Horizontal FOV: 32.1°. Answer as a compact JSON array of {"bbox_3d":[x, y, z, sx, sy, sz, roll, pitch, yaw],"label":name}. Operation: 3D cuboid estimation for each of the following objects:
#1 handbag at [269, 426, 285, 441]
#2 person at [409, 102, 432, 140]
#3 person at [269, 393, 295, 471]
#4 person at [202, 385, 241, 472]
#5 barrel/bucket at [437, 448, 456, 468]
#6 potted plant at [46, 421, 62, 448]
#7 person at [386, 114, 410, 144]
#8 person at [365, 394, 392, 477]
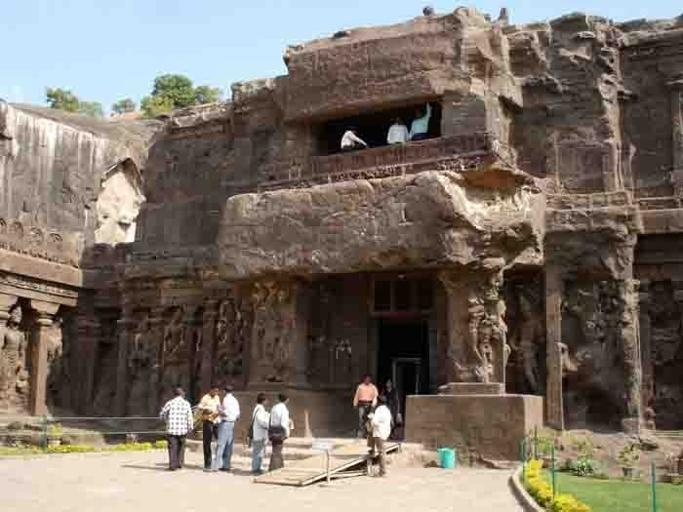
[{"bbox_3d":[-1.521,4.246,28.322,0.396,0.332,0.243,2,-11,-11],"label":"handbag"},{"bbox_3d":[2.387,-4.054,35.782,0.677,1.465,1.314,-1,-11,4],"label":"person"},{"bbox_3d":[-1.478,4.228,28.479,0.529,1.845,0.770,0,-11,-3],"label":"person"},{"bbox_3d":[-2.902,4.307,29.545,0.693,2.138,1.169,1,-11,-6],"label":"person"},{"bbox_3d":[2.662,5.138,30.018,0.440,0.508,0.588,-1,-11,4],"label":"barrel/bucket"},{"bbox_3d":[-8.507,5.343,35.314,0.607,0.872,0.685,5,-15,-21],"label":"potted plant"},{"bbox_3d":[1.707,-3.782,35.541,0.624,1.202,1.223,-1,-11,3],"label":"person"},{"bbox_3d":[0.816,4.424,28.511,0.578,1.722,1.402,-4,-11,16],"label":"person"}]
